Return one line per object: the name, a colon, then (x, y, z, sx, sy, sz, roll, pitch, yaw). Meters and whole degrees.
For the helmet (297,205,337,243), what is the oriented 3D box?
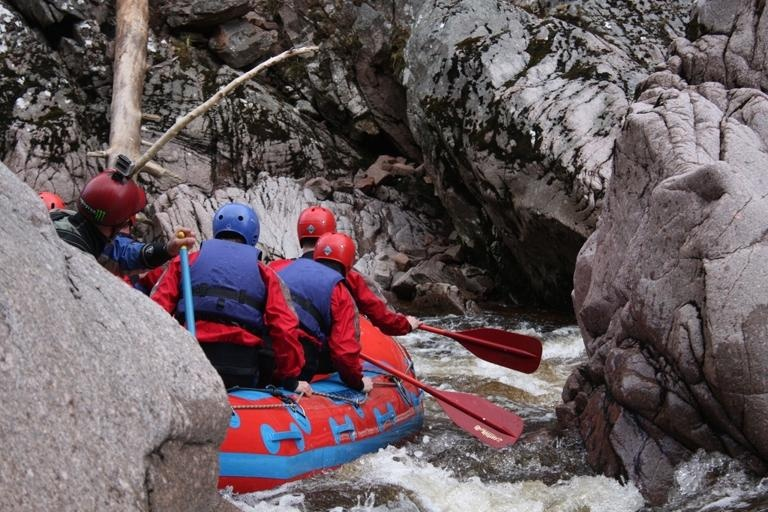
helmet: (-0.766, -0.370, 10.725, 0.303, 0.359, 0.428, 2, 16, 11)

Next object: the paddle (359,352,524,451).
paddle: (0.634, 1.657, 10.343, 1.768, 0.078, 0.375, 26, 52, 28)

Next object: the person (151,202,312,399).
person: (-1.464, 0.571, 9.220, 1.327, 1.816, 0.686, -7, 14, -15)

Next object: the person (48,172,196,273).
person: (-2.551, -0.280, 8.857, 0.857, 1.358, 0.742, 41, 31, 18)
